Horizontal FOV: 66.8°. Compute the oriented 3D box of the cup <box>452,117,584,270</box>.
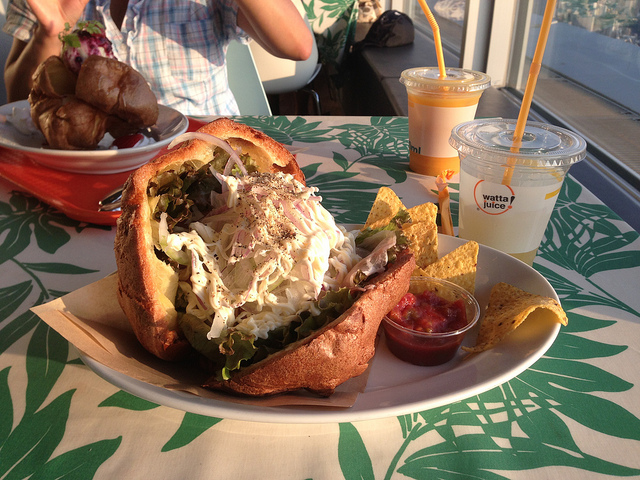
[{"bbox_3d":[0.471,-0.107,1.197,0.288,0.354,0.298,-3,24,1],"label":"cup"}]

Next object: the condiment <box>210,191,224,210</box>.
[{"bbox_3d":[-0.196,-0.075,0.947,0.028,0.031,0.011,-5,11,5],"label":"condiment"}]

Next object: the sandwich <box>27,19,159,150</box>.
[{"bbox_3d":[-0.656,-0.459,1.641,0.483,0.335,0.382,9,10,-46],"label":"sandwich"}]

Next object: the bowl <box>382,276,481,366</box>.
[{"bbox_3d":[0.222,0.164,0.998,0.177,0.088,0.183,6,28,-3],"label":"bowl"}]

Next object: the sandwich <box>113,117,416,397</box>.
[{"bbox_3d":[-0.165,0.139,0.990,0.535,0.267,0.500,21,46,-14],"label":"sandwich"}]
